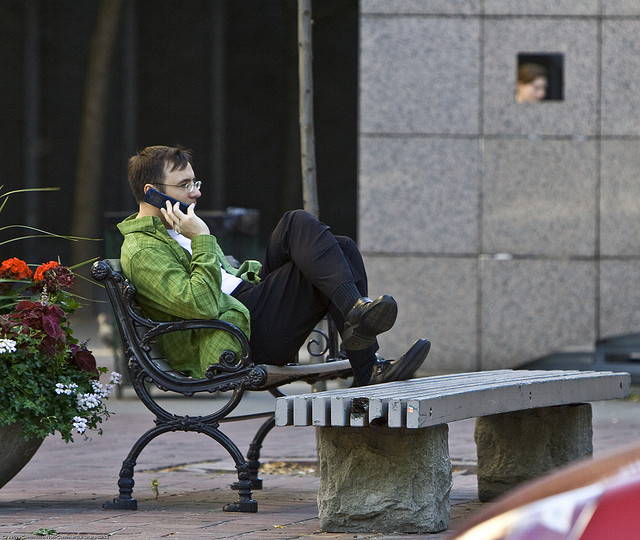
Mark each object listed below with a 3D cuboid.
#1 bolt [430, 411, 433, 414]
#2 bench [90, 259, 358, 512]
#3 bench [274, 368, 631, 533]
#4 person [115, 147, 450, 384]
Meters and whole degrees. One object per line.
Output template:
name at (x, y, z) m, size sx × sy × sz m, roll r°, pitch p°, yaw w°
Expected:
bolt at (0.642, 0.824, 10.390) m, size 0.005 × 0.015 × 0.022 m, roll 1°, pitch -1°, yaw 34°
bench at (-0.575, 0.755, 12.439) m, size 1.259 × 1.663 × 2.797 m, roll -2°, pitch -2°, yaw 18°
bench at (0.749, 1.101, 10.976) m, size 2.096 × 0.970 × 0.803 m, roll 3°, pitch -2°, yaw -42°
person at (-0.276, 0.053, 11.429) m, size 2.344 × 1.511 × 1.048 m, roll 2°, pitch 10°, yaw 38°
